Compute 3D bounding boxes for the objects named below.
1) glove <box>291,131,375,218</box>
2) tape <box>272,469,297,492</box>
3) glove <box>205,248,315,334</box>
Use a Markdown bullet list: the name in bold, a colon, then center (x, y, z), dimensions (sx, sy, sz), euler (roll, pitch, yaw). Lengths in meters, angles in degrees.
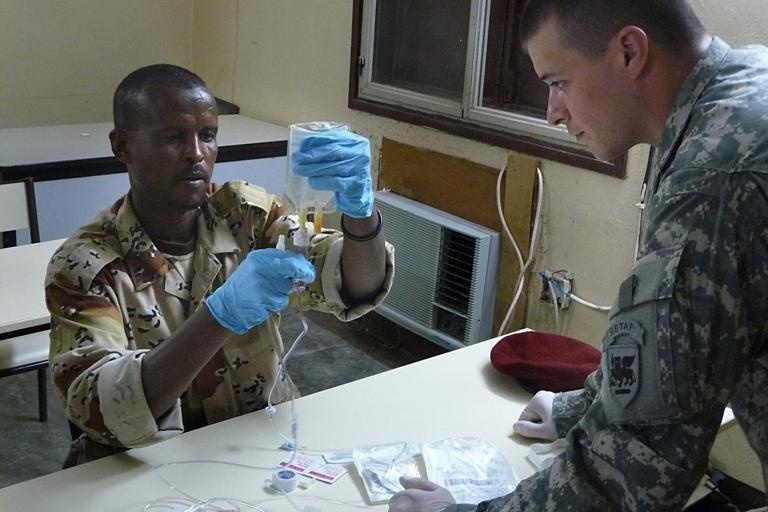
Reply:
- **glove**: center (-0.130, -0.227, 1.854), dimensions (0.249, 0.256, 0.115), euler (-11, 16, -41)
- **tape**: center (-0.260, 0.597, 1.722), dimensions (0.067, 0.041, 0.044), euler (-2, 13, -10)
- **glove**: center (-0.339, 0.099, 1.798), dimensions (0.294, 0.225, 0.114), euler (-2, 12, -10)
